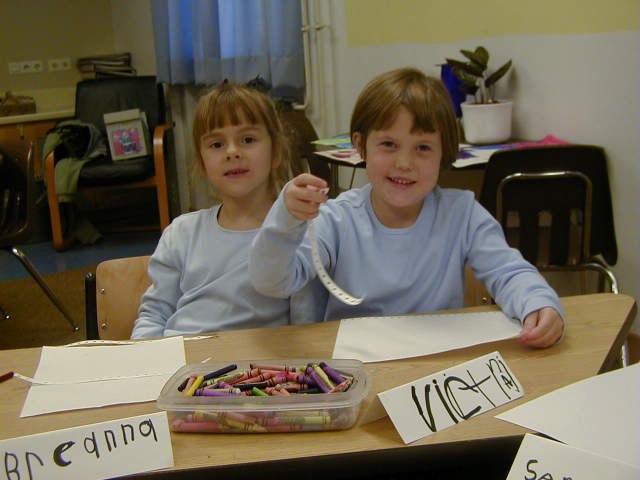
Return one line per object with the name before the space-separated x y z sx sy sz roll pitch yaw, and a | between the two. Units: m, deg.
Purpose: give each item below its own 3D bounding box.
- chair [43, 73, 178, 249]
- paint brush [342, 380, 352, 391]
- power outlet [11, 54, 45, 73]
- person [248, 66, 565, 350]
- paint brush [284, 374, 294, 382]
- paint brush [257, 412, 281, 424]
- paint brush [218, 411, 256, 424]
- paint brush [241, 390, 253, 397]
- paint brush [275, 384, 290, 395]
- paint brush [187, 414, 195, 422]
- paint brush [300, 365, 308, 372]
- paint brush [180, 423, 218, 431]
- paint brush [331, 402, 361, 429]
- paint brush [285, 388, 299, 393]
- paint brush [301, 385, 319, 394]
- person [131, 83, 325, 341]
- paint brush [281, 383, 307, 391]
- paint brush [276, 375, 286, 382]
chair | -1.475 -0.607 4.098 0.713 1.205 0.933 -3 12 -14
paint brush | 0.041 0.223 0.868 0.005 0.007 0.026 -2 22 21
power outlet | -2.474 -1.479 4.770 0.271 0.138 0.038 -3 8 -25
person | 0.201 -0.016 1.340 0.610 0.898 0.591 -1 13 -1
paint brush | -0.047 0.218 0.896 0.010 0.003 0.010 -3 34 -6
paint brush | -0.076 0.264 0.840 0.018 0.011 0.027 2 -1 13
paint brush | -0.121 0.264 0.840 0.051 0.019 0.005 -3 19 4
paint brush | -0.110 0.234 0.864 0.014 0.005 0.008 13 43 -34
paint brush | -0.058 0.229 0.866 0.016 0.007 0.010 18 43 40
paint brush | -0.193 0.266 0.851 0.011 0.012 0.004 27 -2 22
paint brush | -0.026 0.207 0.914 0.008 0.010 0.010 28 19 -11
paint brush | -0.184 0.281 0.851 0.059 0.017 0.003 -1 19 8
paint brush | 0.038 0.266 0.849 0.030 0.020 0.043 -3 2 -4
paint brush | -0.043 0.232 0.874 0.012 0.004 0.007 -6 27 -4
paint brush | -0.013 0.230 0.877 0.018 0.008 0.011 -2 11 -17
person | -0.242 -0.027 1.436 0.442 0.790 0.456 -3 -13 6
paint brush | -0.040 0.228 0.877 0.025 0.006 0.015 5 11 9
paint brush | -0.061 0.216 0.887 0.008 0.007 0.009 1 5 41
